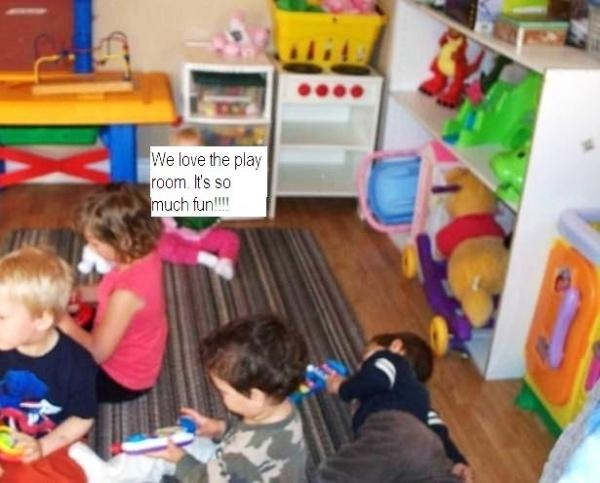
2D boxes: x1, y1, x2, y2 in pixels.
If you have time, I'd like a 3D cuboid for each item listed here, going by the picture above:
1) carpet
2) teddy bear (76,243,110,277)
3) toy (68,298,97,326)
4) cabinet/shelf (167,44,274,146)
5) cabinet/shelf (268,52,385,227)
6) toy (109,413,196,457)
[{"bbox_3d":[-0.250,0.386,1.899,0.860,0.010,0.964,0,30,-2],"label":"carpet"},{"bbox_3d":[-0.641,0.064,1.473,0.137,0.137,0.043,0,-2,15],"label":"teddy bear"},{"bbox_3d":[-0.629,0.205,1.371,0.082,0.031,0.084,-7,45,-28],"label":"toy"},{"bbox_3d":[-0.137,-0.281,0.880,0.180,0.184,0.113,6,50,-2],"label":"cabinet/shelf"},{"bbox_3d":[0.123,-0.389,2.411,0.510,0.789,0.452,5,-8,1],"label":"cabinet/shelf"},{"bbox_3d":[-0.366,0.468,1.173,0.164,0.063,0.097,1,-7,-13],"label":"toy"}]
